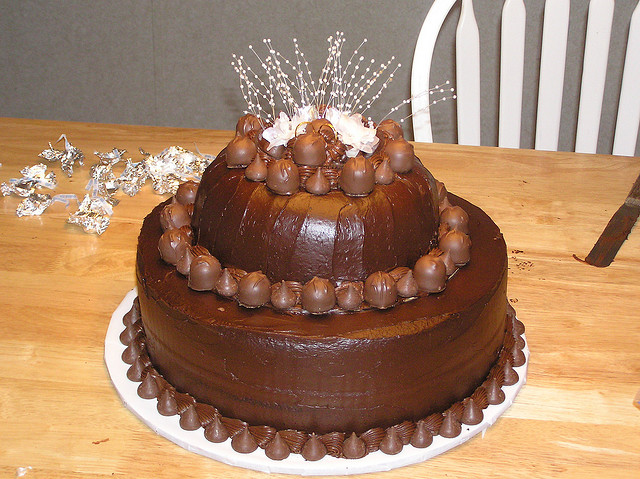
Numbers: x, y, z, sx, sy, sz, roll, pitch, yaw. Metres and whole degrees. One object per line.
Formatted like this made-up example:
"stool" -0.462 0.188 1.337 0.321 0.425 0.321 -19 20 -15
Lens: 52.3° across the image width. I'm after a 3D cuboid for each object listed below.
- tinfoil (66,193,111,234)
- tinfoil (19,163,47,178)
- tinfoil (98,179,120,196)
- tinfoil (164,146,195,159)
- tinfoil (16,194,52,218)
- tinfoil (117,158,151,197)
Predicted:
"tinfoil" -1.161 -0.111 3.283 0.182 0.065 0.189 -30 58 -25
"tinfoil" -1.574 -0.374 3.555 0.137 0.064 0.095 -5 17 -14
"tinfoil" -1.155 -0.281 3.522 0.117 0.075 0.099 0 16 0
"tinfoil" -0.812 -0.493 3.663 0.099 0.033 0.100 -2 19 -1
"tinfoil" -1.476 -0.178 3.391 0.111 0.098 0.192 5 17 19
"tinfoil" -1.027 -0.337 3.567 0.162 0.210 0.055 12 -17 -7
